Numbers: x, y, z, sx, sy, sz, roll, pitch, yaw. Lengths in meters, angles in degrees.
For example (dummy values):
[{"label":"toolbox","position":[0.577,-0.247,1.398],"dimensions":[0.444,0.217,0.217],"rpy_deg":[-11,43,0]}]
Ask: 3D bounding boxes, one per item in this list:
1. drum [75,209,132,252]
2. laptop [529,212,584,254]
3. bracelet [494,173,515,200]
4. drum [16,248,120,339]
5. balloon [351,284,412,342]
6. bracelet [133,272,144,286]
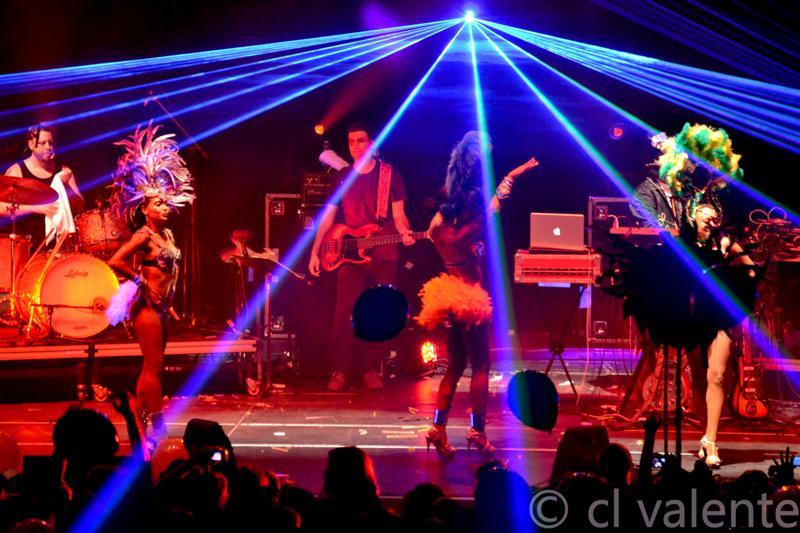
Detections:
[{"label":"drum","position":[-3.783,-0.447,9.896],"dimensions":[0.683,0.421,0.685],"rpy_deg":[-4,5,0]},{"label":"laptop","position":[1.973,-0.460,9.707],"dimensions":[0.816,0.455,0.516],"rpy_deg":[1,-4,2]},{"label":"bracelet","position":[0.932,-0.691,6.952],"dimensions":[0.187,0.239,0.082],"rpy_deg":[18,11,-11]},{"label":"drum","position":[-3.977,0.318,9.321],"dimensions":[1.144,1.081,0.486],"rpy_deg":[-1,-14,12]},{"label":"balloon","position":[-0.212,0.560,9.654],"dimensions":[0.601,0.557,0.816],"rpy_deg":[8,-14,-25]},{"label":"bracelet","position":[-2.330,0.112,7.039],"dimensions":[0.073,0.104,0.074],"rpy_deg":[-6,-16,30]}]
